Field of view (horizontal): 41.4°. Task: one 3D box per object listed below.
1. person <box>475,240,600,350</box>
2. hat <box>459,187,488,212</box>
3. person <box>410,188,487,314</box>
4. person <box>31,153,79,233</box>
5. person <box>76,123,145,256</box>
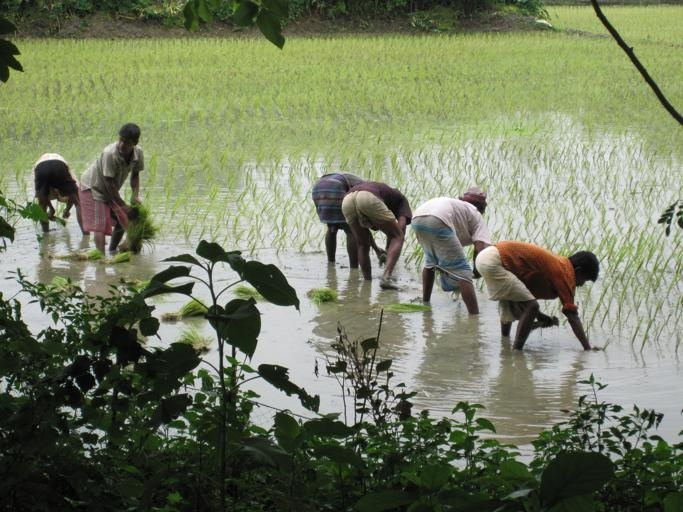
[{"bbox_3d":[1.833,0.382,8.300,1.216,0.934,0.857,4,-1,22],"label":"person"},{"bbox_3d":[1.374,-0.613,9.404,0.264,0.223,0.278,-21,-30,21],"label":"hat"},{"bbox_3d":[1.150,-0.093,9.196,0.784,1.112,0.808,7,15,27],"label":"person"},{"bbox_3d":[-3.655,-0.949,11.501,0.448,0.727,1.235,-4,-12,-13],"label":"person"},{"bbox_3d":[-2.623,-0.767,10.294,0.763,1.509,0.763,-1,14,-4],"label":"person"}]
